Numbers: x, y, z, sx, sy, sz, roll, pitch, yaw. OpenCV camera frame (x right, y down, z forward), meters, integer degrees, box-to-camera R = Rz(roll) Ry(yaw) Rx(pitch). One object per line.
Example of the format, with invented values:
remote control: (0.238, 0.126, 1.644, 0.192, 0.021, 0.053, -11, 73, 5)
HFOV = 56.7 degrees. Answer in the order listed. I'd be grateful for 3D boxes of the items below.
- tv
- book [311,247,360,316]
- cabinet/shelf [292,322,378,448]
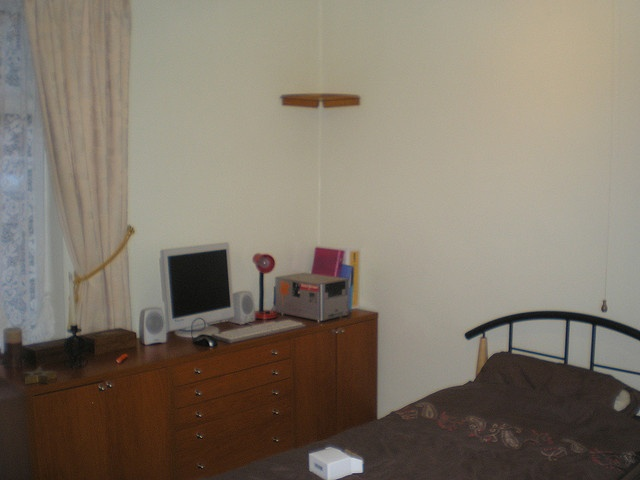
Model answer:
tv: (-0.782, 0.316, 3.685, 0.489, 0.610, 0.216, -6, 5, -42)
book: (0.117, 0.305, 4.162, 0.374, 0.445, 0.143, 9, 10, 44)
cabinet/shelf: (0.064, 0.928, 3.854, 0.246, 0.722, 0.655, 4, 8, 42)
